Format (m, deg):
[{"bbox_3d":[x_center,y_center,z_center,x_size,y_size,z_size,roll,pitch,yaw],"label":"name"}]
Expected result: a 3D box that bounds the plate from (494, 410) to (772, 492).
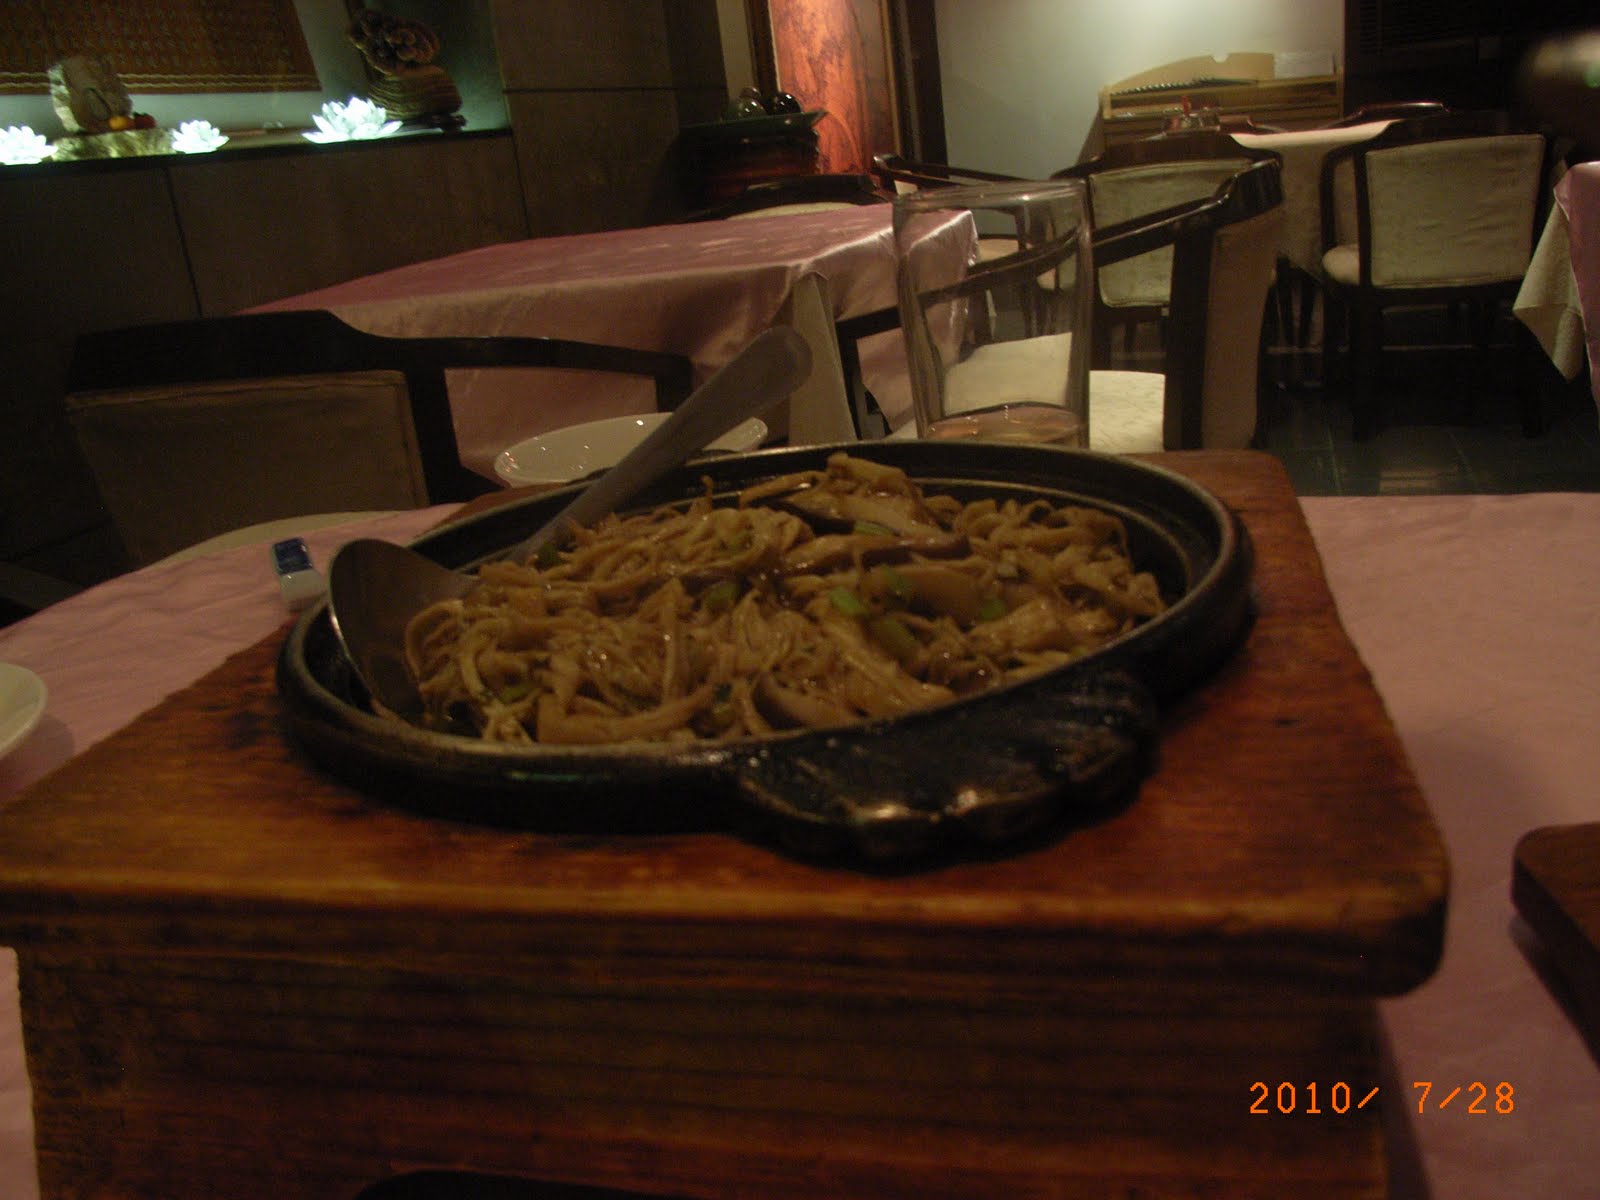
[{"bbox_3d":[-0.225,-0.175,1.393,0.199,0.049,0.198,-4,26,3],"label":"plate"}]
